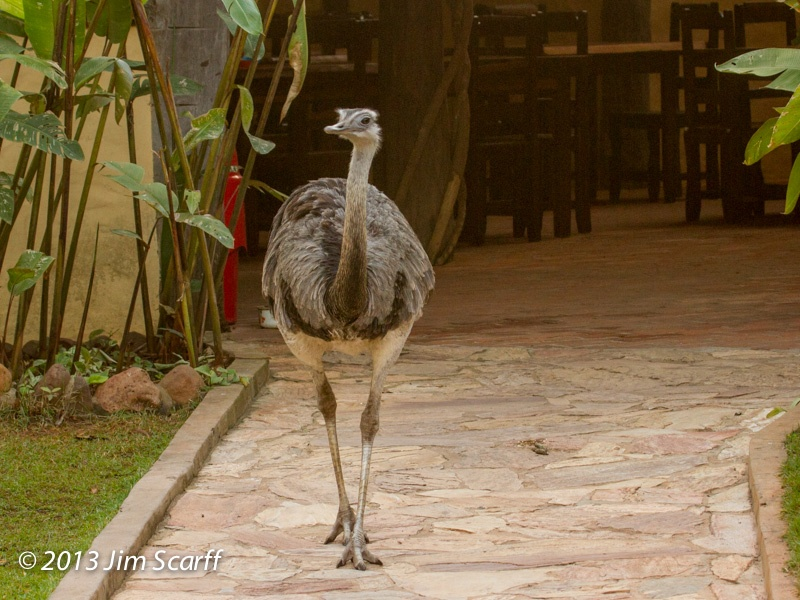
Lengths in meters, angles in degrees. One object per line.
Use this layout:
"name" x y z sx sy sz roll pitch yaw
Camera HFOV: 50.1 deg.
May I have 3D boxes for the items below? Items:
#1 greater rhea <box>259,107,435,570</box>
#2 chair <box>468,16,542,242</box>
"greater rhea" -0.189 0.085 3.602 0.724 1.731 1.174 -6 13 -9
"chair" 1.388 -2.154 11.177 1.036 2.537 0.886 -1 13 1
